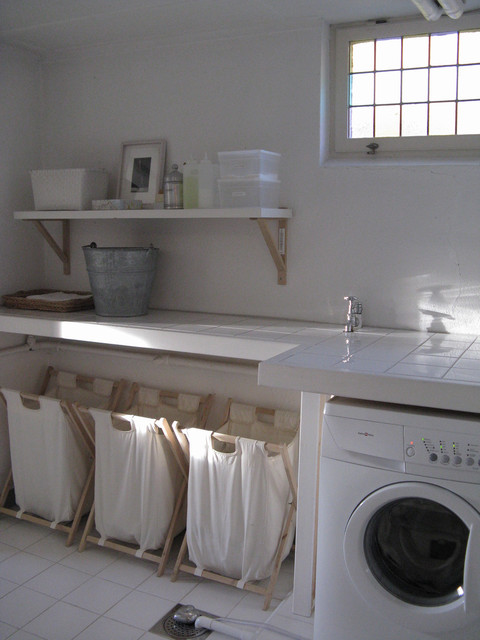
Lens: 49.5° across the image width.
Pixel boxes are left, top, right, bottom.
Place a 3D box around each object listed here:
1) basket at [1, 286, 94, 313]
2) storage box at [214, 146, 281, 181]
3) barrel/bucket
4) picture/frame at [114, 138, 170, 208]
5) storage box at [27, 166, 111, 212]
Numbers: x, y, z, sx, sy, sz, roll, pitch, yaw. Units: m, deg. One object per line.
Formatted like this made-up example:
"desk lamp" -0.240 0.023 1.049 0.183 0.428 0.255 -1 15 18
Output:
"basket" -0.957 -0.104 2.672 0.506 0.112 0.384 3 4 39
"storage box" 0.036 -0.606 2.051 0.238 0.122 0.176 1 3 0
"barrel/bucket" -0.549 -0.178 2.320 0.306 0.310 0.341 -1 2 -16
"picture/frame" -0.470 -0.714 2.522 0.341 0.422 0.029 10 8 30
"storage box" -0.834 -0.625 2.494 0.255 0.166 0.264 2 9 10
